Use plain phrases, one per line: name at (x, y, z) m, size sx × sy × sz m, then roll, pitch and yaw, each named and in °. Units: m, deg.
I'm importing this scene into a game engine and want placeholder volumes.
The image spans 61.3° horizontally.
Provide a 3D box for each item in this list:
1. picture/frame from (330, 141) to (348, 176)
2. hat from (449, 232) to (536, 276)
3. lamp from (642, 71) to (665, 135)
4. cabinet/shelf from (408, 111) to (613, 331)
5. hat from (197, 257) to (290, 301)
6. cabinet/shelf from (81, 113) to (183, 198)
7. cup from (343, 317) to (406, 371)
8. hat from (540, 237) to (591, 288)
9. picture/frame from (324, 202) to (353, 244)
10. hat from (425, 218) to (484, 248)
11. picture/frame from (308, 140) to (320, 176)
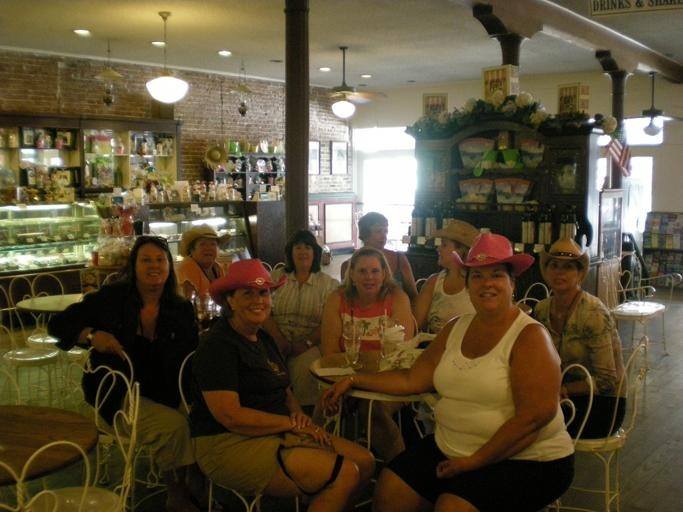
picture/frame at (-0.067, -2.324, 13.605) m, size 0.080 × 0.828 × 0.832 m, roll 3°, pitch 6°, yaw 36°
hat at (0.782, -0.014, 2.866) m, size 0.359 × 0.145 × 0.328 m, roll 4°, pitch -6°, yaw -2°
lamp at (5.762, -2.793, 10.618) m, size 0.331 × 1.129 × 1.009 m, roll 2°, pitch 8°, yaw 29°
cabinet/shelf at (1.629, -0.411, 5.416) m, size 2.257 × 2.271 × 0.694 m, roll 3°, pitch 4°, yaw 31°
hat at (-0.556, 0.098, 3.127) m, size 0.348 × 0.151 × 0.386 m, roll 6°, pitch 1°, yaw -2°
cabinet/shelf at (-3.703, -1.516, 9.826) m, size 1.810 × 1.663 × 0.556 m, roll -8°, pitch 18°, yaw -44°
cup at (0.218, 0.523, 3.393) m, size 0.261 × 0.222 × 0.304 m, roll 6°, pitch 11°, yaw 33°
hat at (1.456, -0.029, 3.679) m, size 0.254 × 0.149 × 0.343 m, roll -2°, pitch -7°, yaw 40°
picture/frame at (-0.081, -0.777, 13.386) m, size 0.098 × 1.028 × 0.992 m, roll 1°, pitch 3°, yaw 39°
hat at (0.930, -0.185, 4.628) m, size 0.307 × 0.114 × 0.275 m, roll 30°, pitch 9°, yaw 18°
picture/frame at (-0.593, -2.221, 13.062) m, size 0.051 × 0.751 × 0.356 m, roll 4°, pitch 9°, yaw 36°
